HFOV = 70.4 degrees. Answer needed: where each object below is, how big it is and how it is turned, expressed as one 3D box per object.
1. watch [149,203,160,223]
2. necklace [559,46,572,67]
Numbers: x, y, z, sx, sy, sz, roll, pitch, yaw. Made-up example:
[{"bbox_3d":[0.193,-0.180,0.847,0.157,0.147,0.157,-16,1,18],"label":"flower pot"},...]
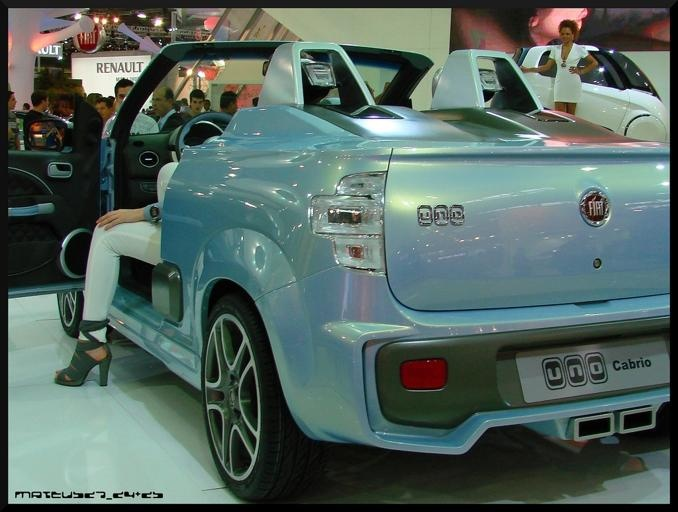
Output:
[{"bbox_3d":[-1.051,-0.246,2.736,0.061,0.082,0.036,-1,0,5],"label":"watch"},{"bbox_3d":[2.894,-2.550,6.163,0.144,0.197,0.091,0,-6,-2],"label":"necklace"}]
